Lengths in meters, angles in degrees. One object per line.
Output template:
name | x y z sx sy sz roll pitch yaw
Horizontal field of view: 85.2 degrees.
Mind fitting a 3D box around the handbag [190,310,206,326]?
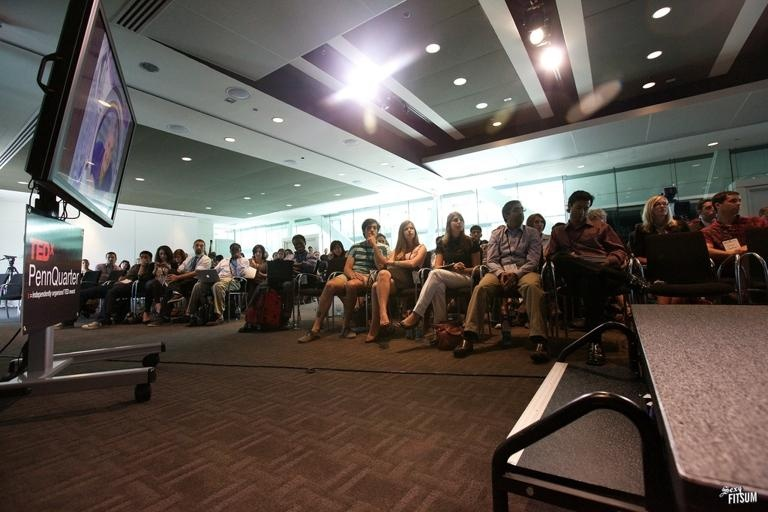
handbag | -2.965 0.977 6.743 0.288 0.193 0.166 -11 8 -8

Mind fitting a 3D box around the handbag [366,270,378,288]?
handbag | -0.143 0.275 5.099 0.083 0.105 0.244 1 -39 -16

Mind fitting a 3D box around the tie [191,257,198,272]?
tie | -3.311 0.130 7.318 0.148 0.207 0.076 -11 -21 41

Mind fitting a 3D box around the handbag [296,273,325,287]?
handbag | -1.071 0.356 6.047 0.284 0.338 0.261 3 0 3

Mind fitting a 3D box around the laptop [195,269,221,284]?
laptop | -2.793 0.318 6.626 0.297 0.212 0.205 1 0 0

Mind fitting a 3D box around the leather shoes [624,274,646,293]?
leather shoes | 2.140 0.225 3.548 0.302 0.118 0.081 13 -6 -28

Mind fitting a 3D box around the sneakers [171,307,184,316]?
sneakers | -3.675 0.985 7.463 0.182 0.143 0.170 2 14 9

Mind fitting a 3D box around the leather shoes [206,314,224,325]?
leather shoes | -2.735 1.040 6.769 0.256 0.108 0.108 7 -15 -41

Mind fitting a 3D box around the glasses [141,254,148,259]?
glasses | -4.413 0.007 7.689 0.078 0.057 0.071 6 -7 -20

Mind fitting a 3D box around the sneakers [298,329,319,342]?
sneakers | -0.857 0.915 4.838 0.101 0.118 0.304 -13 -16 33

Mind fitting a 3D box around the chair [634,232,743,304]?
chair | 2.936 0.167 4.091 0.711 0.751 0.672 0 12 9
